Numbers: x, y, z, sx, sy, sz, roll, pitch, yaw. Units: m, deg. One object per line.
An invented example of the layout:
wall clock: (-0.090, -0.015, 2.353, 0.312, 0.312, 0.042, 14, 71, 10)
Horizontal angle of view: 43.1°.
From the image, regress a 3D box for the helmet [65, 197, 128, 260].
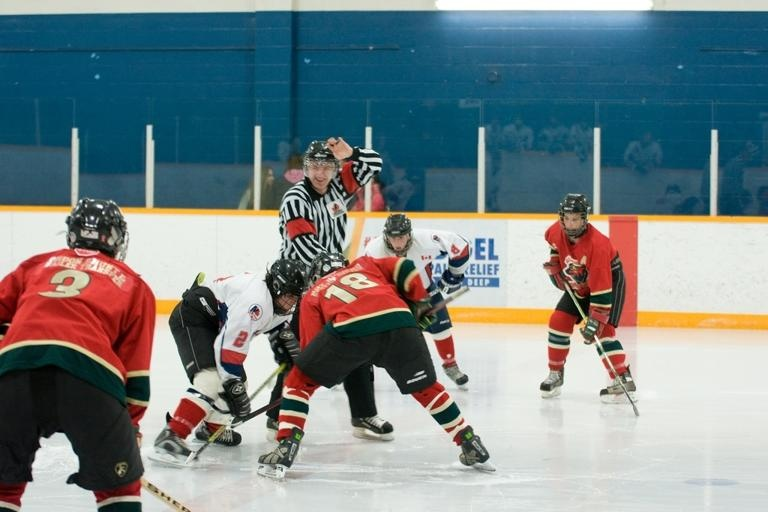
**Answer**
helmet: (-1.998, -0.128, 6.650, 0.422, 0.475, 0.502, 9, -14, -12)

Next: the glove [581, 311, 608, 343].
glove: (1.858, 0.643, 8.683, 0.202, 0.265, 0.100, 18, -14, 4)

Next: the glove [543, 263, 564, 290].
glove: (1.537, 0.178, 9.120, 0.269, 0.248, 0.201, -6, 9, 15)

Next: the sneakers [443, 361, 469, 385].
sneakers: (0.653, 1.089, 9.007, 0.157, 0.104, 0.253, -27, 59, -29)

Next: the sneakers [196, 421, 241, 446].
sneakers: (-1.294, 1.391, 7.570, 0.436, 0.146, 0.177, 7, -24, -1)

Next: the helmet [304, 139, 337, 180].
helmet: (-0.529, -0.834, 8.233, 0.254, 0.282, 0.303, 2, 20, 2)

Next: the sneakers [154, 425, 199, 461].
sneakers: (-1.561, 1.435, 7.366, 0.431, 0.217, 0.142, 12, -2, 14)

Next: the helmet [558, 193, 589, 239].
helmet: (1.681, -0.379, 8.716, 0.328, 0.359, 0.405, 4, 11, 26)

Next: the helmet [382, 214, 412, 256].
helmet: (0.109, -0.205, 8.586, 0.304, 0.365, 0.382, -3, -7, -6)

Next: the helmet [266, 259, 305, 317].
helmet: (-0.762, 0.238, 7.437, 0.291, 0.425, 0.171, -1, 2, -16)

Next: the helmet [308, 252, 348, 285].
helmet: (-0.447, 0.121, 7.608, 0.235, 0.280, 0.275, 11, 42, -8)

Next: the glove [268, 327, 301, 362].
glove: (-0.794, 0.702, 7.686, 0.241, 0.288, 0.120, 0, 2, -2)

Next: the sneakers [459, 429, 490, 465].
sneakers: (0.662, 1.451, 7.263, 0.212, 0.284, 0.122, -20, 6, 2)

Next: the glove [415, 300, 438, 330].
glove: (0.311, 0.435, 7.347, 0.145, 0.222, 0.092, 9, 33, -14)
